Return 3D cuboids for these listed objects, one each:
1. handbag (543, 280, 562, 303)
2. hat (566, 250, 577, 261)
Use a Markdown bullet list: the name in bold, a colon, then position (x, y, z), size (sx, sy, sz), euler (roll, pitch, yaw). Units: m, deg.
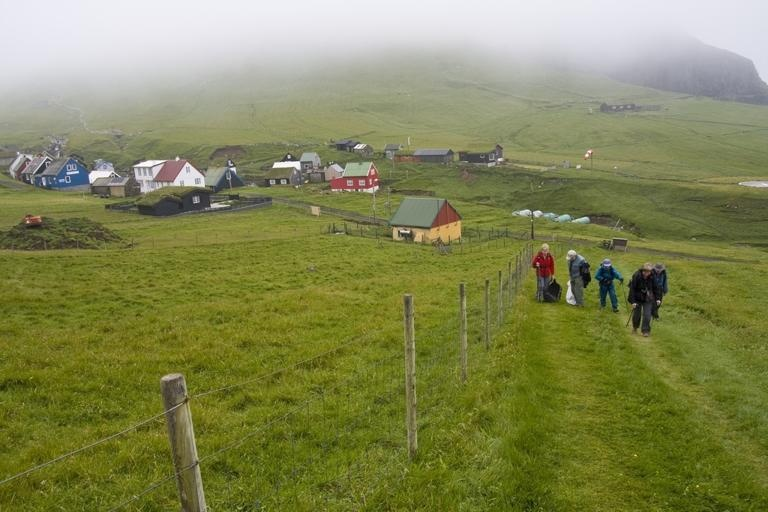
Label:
- **handbag**: position (9.814, 2.101, 33.975), size (1.135, 1.358, 0.758), euler (10, 11, 20)
- **hat**: position (10.773, 0.013, 33.369), size (0.443, 0.669, 0.818), euler (4, 17, 9)
